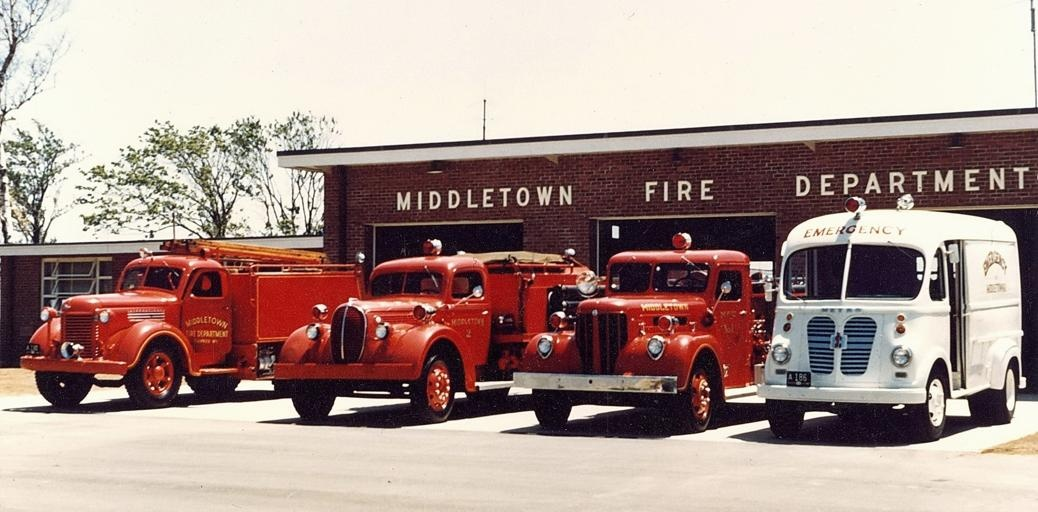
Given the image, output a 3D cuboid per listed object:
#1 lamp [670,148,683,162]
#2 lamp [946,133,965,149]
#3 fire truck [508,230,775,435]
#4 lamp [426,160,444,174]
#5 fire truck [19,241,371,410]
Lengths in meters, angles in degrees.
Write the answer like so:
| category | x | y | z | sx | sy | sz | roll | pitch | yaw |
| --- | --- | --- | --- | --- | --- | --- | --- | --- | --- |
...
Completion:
| category | x | y | z | sx | sy | sz | roll | pitch | yaw |
| --- | --- | --- | --- | --- | --- | --- | --- | --- | --- |
| lamp | 5.205 | -3.336 | 32.672 | 0.514 | 0.339 | 0.489 | 0 | -1 | -38 |
| lamp | 13.438 | -3.544 | 30.463 | 0.472 | 0.305 | 0.442 | -1 | 3 | -23 |
| fire truck | 3.267 | 1.824 | 24.283 | 6.008 | 4.875 | 2.361 | 0 | -6 | 1 |
| lamp | -2.933 | -3.121 | 34.765 | 0.446 | 0.260 | 0.451 | 1 | -7 | -2 |
| fire truck | -10.041 | 1.875 | 29.120 | 4.786 | 4.048 | 10.820 | -5 | -6 | 42 |
